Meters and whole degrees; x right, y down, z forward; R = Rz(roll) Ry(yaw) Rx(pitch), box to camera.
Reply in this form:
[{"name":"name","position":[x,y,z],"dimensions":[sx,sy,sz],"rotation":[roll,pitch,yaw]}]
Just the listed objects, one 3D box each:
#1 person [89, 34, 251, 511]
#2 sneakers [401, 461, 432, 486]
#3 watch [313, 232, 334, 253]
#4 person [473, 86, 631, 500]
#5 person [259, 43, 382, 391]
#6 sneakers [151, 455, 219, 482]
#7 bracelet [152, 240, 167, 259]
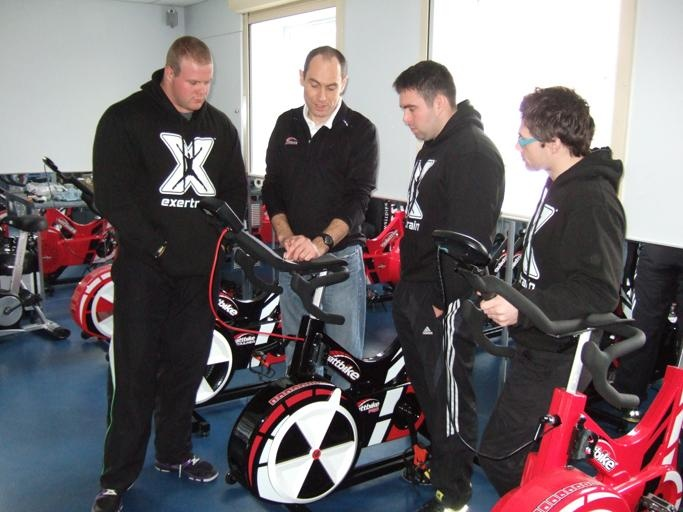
[{"name":"person","position":[-0.893,0.109,2.772],"dimensions":[0.898,2.332,0.396],"rotation":[-7,16,-29]},{"name":"sneakers","position":[0.410,1.189,2.979],"dimensions":[0.138,0.154,0.201],"rotation":[4,-6,5]},{"name":"watch","position":[-0.085,-0.073,2.741],"dimensions":[0.101,0.113,0.072],"rotation":[-15,8,18]},{"name":"person","position":[0.790,0.209,2.056],"dimensions":[0.436,1.633,0.683],"rotation":[8,16,27]},{"name":"person","position":[-0.137,-0.264,2.972],"dimensions":[0.639,1.667,0.527],"rotation":[2,14,5]},{"name":"sneakers","position":[-0.865,1.171,3.094],"dimensions":[0.354,0.184,0.143],"rotation":[2,17,-3]},{"name":"bracelet","position":[-0.860,-0.038,2.628],"dimensions":[0.017,0.069,0.071],"rotation":[32,-25,0]}]
